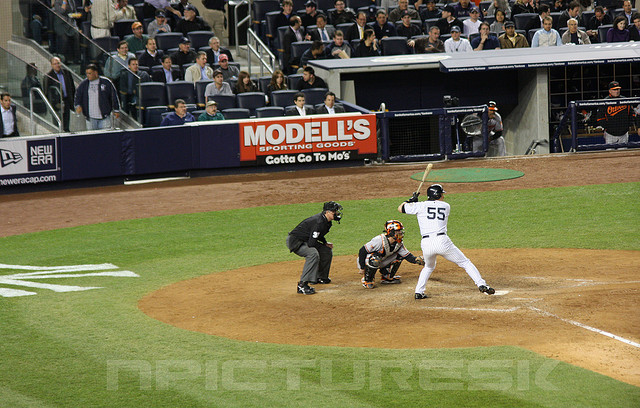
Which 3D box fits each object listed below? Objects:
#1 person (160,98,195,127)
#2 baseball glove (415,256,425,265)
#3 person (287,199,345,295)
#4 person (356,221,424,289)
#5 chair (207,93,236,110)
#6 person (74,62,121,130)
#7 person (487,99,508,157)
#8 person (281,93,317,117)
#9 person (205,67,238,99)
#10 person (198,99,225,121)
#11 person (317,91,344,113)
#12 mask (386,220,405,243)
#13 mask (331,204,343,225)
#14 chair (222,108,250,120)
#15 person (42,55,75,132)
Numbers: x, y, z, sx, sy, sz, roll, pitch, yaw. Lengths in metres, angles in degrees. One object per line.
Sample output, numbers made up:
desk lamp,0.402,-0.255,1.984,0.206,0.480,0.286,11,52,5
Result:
person,-4.244,-2.763,29.979,0.883,0.785,1.073,-1,4,1
baseball glove,2.153,1.190,21.403,0.136,0.133,0.162,16,3,5
person,-0.091,0.897,21.650,1.160,1.940,0.833,-2,5,-3
person,1.607,1.025,21.467,1.601,1.233,0.986,0,1,3
chair,-2.988,-3.243,30.876,0.633,0.686,0.590,-3,31,-10
person,-6.525,-3.227,29.568,1.351,1.957,0.536,-2,5,-11
person,5.648,-2.420,32.068,0.485,1.696,1.496,-1,4,11
person,-0.627,-3.103,30.974,0.732,0.689,0.792,1,5,28
person,-3.049,-3.524,30.634,0.968,1.141,0.803,-9,7,-23
person,-3.297,-2.887,30.380,0.828,0.661,0.771,-1,4,2
person,0.421,-3.253,31.532,0.651,0.642,1.215,0,4,17
mask,1.658,0.541,21.390,0.501,0.398,0.364,3,5,8
mask,0.382,0.156,21.333,0.311,0.344,0.291,1,-10,-6
chair,-2.505,-2.788,30.601,0.544,0.399,0.624,-4,5,-14
person,-7.548,-3.268,29.173,0.568,2.226,0.836,0,5,16
